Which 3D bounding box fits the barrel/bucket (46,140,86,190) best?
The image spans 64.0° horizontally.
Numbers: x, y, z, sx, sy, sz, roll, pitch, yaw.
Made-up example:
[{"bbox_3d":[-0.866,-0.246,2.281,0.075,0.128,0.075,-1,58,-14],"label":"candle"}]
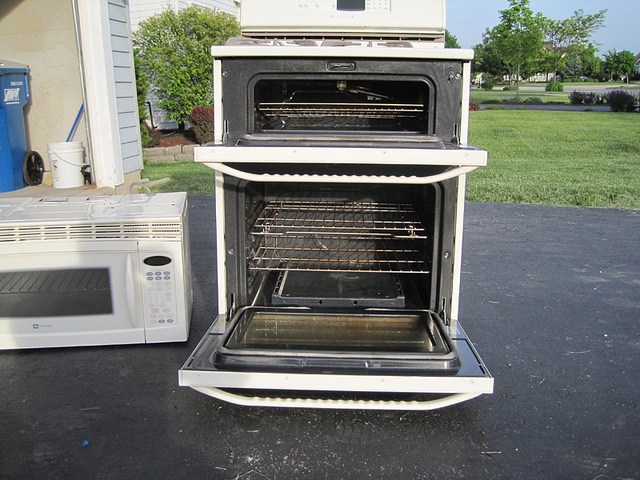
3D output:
[{"bbox_3d":[-2.385,-0.703,4.814,0.336,0.450,0.189,-11,24,-18],"label":"barrel/bucket"}]
